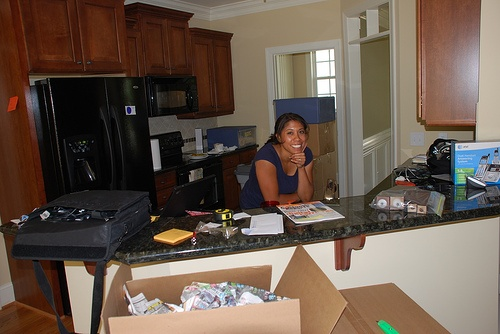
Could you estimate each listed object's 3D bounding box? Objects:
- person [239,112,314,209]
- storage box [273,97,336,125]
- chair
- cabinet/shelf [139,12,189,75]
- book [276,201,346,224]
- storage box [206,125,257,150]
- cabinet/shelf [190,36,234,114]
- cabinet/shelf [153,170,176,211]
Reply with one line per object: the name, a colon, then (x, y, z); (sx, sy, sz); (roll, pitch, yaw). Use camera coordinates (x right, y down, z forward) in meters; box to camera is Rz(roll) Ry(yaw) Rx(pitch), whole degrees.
person: (0.189, -0.027, 2.737); (0.582, 0.760, 0.383); (-3, 8, 9)
storage box: (0.812, -0.823, 5.152); (0.947, 0.352, 0.968); (-7, 9, -19)
chair: (-0.533, 0.223, 2.883); (0.413, 0.288, 0.466); (8, 17, 40)
cabinet/shelf: (-1.152, -1.617, 4.527); (0.326, 0.765, 0.820); (7, 15, 34)
book: (0.315, 0.243, 1.863); (0.295, 0.031, 0.296); (-6, 9, -9)
storage box: (-0.326, -0.487, 5.525); (0.463, 0.247, 0.493); (6, 13, 29)
cabinet/shelf: (-0.658, -1.410, 5.486); (0.309, 1.257, 0.921); (3, 11, 37)
cabinet/shelf: (-1.146, 0.226, 4.418); (0.241, 0.430, 0.270); (-12, 33, -28)
